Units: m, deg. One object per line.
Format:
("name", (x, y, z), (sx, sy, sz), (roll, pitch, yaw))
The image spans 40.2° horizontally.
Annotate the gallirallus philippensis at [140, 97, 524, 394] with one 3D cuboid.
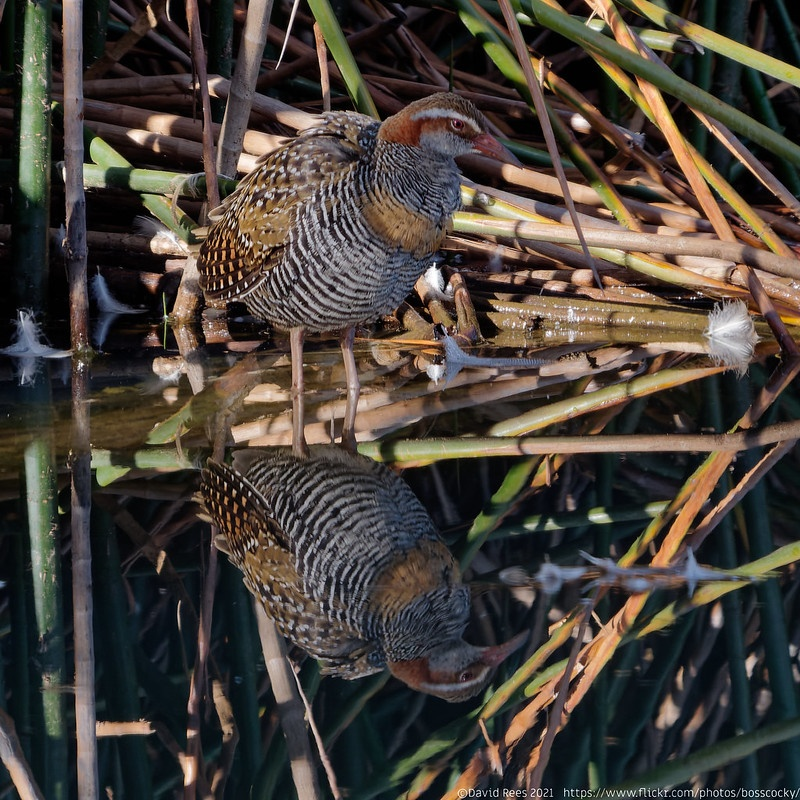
("gallirallus philippensis", (-0.124, -0.385, 2.723), (0.551, 0.637, 1.012), (-1, 9, -43))
